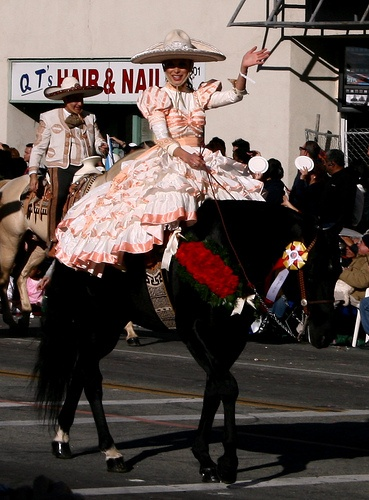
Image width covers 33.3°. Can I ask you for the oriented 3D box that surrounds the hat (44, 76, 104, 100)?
[{"bbox_3d":[-1.604,-2.281,8.760,0.616,0.191,0.601,-3,-4,-3],"label":"hat"}]

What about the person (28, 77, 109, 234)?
[{"bbox_3d":[-1.664,-1.147,8.877,1.207,2.328,1.007,-6,9,-22],"label":"person"}]

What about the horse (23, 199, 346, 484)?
[{"bbox_3d":[0.004,0.552,3.663,2.094,1.377,0.569,-3,-13,35],"label":"horse"}]

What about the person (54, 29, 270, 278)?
[{"bbox_3d":[-0.055,-0.661,4.018,1.809,1.330,1.023,-9,20,-13],"label":"person"}]

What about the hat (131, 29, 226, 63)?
[{"bbox_3d":[-0.033,-1.433,4.170,0.489,0.114,0.430,-1,-2,6],"label":"hat"}]
